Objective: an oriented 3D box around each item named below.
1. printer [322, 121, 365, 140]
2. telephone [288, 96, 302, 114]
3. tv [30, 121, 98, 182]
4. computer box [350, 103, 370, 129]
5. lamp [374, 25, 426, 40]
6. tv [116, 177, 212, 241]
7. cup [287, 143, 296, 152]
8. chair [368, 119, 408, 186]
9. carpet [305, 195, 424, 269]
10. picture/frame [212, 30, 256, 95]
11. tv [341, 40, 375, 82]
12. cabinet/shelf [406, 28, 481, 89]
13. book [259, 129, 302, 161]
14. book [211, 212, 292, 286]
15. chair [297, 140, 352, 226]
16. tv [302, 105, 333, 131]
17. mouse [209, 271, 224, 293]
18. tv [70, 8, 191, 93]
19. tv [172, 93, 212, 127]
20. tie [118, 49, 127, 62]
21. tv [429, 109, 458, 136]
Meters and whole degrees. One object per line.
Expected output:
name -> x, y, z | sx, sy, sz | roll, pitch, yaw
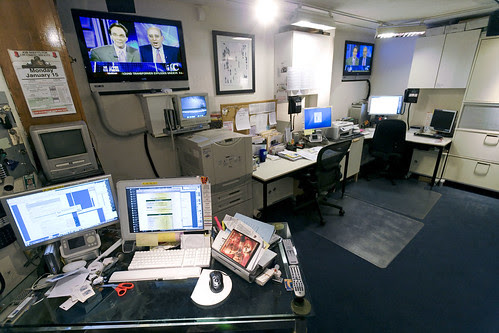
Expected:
printer -> 1.588, -0.609, 5.481 | 0.538, 0.316, 0.379 | -20, 27, -33
telephone -> 0.683, -0.950, 4.936 | 0.123, 0.211, 0.224 | 13, 22, 35
tv -> -2.003, -0.152, 3.421 | 0.472, 0.541, 0.276 | -27, 22, -29
computer box -> 2.143, -1.025, 6.368 | 0.276, 0.430, 0.268 | 12, 25, 35
lamp -> 2.356, -2.153, 5.109 | 0.742, 0.151, 0.266 | -4, 19, -1
tv -> -0.848, 0.415, 3.192 | 0.642, 0.442, 0.068 | -2, 9, -1
cup -> 0.665, -0.302, 5.111 | 0.133, 0.097, 0.131 | -3, 14, 1
chair -> 2.481, -0.319, 5.829 | 0.708, 1.133, 0.701 | -6, 19, -23
carpet -> 1.694, 0.926, 4.635 | 1.196, 0.230, 1.096 | -21, 26, -41
picture/frame -> -0.252, -1.512, 4.595 | 0.873, 0.947, 0.039 | -13, 24, -34
tv -> 2.062, -2.058, 6.218 | 0.839, 0.631, 0.087 | -17, 28, -34
cabinet/shelf -> 3.271, -1.798, 5.363 | 0.309, 0.852, 0.943 | -19, 32, -40
book -> 0.451, -0.297, 4.950 | 0.387, 0.255, 0.650 | -22, 41, -27
book -> 0.006, 0.709, 3.154 | 0.649, 0.429, 0.640 | 29, 60, 14
chair -> 1.058, 0.158, 4.854 | 0.770, 1.168, 0.745 | 14, 27, 31
tv -> 1.112, -0.785, 5.323 | 0.570, 0.400, 0.119 | -13, 22, -23
mouse -> -0.305, 1.081, 3.013 | 0.144, 0.047, 0.225 | -8, 39, -10
tv -> -1.505, -1.437, 3.923 | 1.197, 0.816, 0.121 | -11, 26, -24
tv -> -0.758, -0.721, 4.097 | 0.380, 0.341, 0.203 | -15, 27, -32
tie -> -1.552, -1.347, 3.920 | 0.106, 0.140, 0.035 | -2, 6, -12
tv -> 3.401, -0.769, 5.624 | 0.128, 0.384, 0.386 | -8, 31, -30
